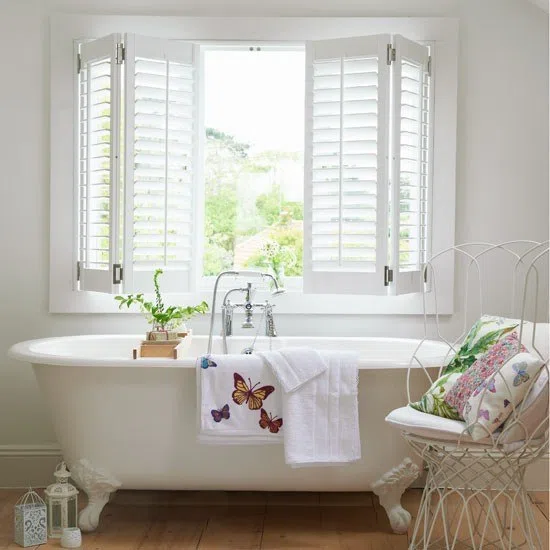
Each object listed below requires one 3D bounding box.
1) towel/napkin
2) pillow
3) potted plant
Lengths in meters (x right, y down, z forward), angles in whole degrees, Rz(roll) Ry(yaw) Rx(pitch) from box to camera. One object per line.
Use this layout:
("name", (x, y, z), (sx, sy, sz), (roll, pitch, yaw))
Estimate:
("towel/napkin", (0.026, 0.469, 2.069), (0.448, 0.335, 0.116), (0, -3, 0))
("pillow", (0.705, 0.319, 1.879), (0.399, 0.329, 0.469), (0, 0, -17))
("potted plant", (-0.520, 0.152, 2.658), (0.381, 0.273, 0.324), (3, -3, -20))
